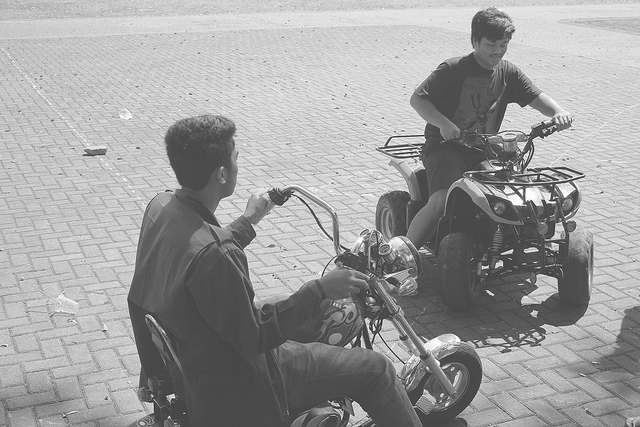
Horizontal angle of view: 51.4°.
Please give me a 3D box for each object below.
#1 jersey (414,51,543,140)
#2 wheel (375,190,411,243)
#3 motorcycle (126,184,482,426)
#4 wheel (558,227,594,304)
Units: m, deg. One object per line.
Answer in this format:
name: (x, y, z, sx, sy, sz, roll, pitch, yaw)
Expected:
jersey: (1.683, -1.225, 7.126, 1.737, 0.935, 0.490, -5, 20, -24)
wheel: (0.794, 0.033, 7.078, 0.215, 0.542, 0.574, -4, 3, -17)
motorcycle: (-0.056, 0.808, 5.127, 2.681, 1.569, 1.591, -14, 32, -16)
wheel: (2.495, 0.516, 6.503, 0.249, 0.619, 0.583, 7, 72, 26)
